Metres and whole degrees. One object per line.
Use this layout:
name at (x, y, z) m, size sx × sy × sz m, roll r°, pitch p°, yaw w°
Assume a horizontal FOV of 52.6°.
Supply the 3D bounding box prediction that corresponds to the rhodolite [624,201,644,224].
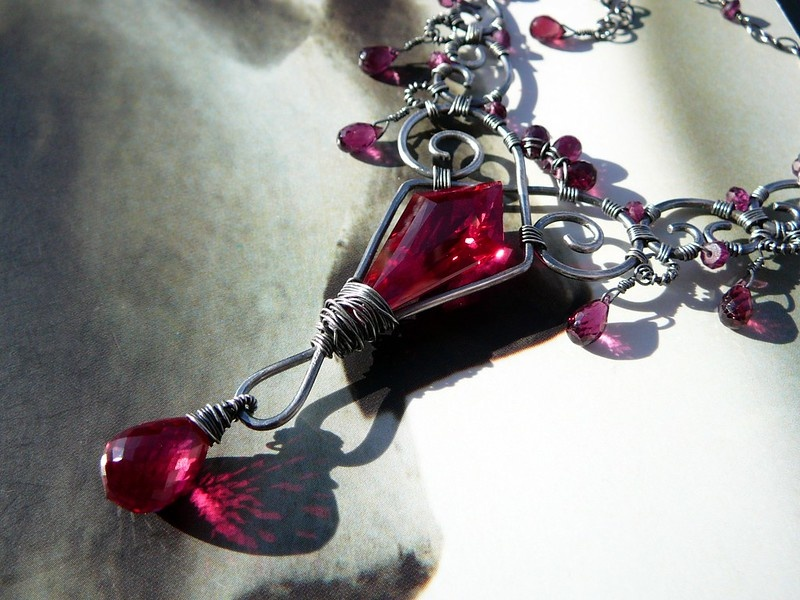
rhodolite at (0.525, -0.195, 1.795) m, size 0.045 × 0.018 × 0.049 m, roll 1°, pitch 77°, yaw 3°

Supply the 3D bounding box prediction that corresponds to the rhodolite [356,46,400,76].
rhodolite at (-0.057, -0.590, 1.999) m, size 0.084 × 0.045 × 0.070 m, roll -23°, pitch 91°, yaw 3°

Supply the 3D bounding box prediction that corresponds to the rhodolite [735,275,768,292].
rhodolite at (0.774, -0.035, 1.765) m, size 0.051 × 0.040 × 0.016 m, roll 0°, pitch 100°, yaw 7°

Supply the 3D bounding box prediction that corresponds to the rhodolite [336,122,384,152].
rhodolite at (-0.090, -0.373, 1.861) m, size 0.094 × 0.046 × 0.057 m, roll -19°, pitch 80°, yaw -12°

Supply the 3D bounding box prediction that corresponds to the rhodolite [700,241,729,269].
rhodolite at (0.674, -0.092, 1.753) m, size 0.053 × 0.032 × 0.060 m, roll 5°, pitch 83°, yaw 25°

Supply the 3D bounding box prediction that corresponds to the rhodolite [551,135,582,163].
rhodolite at (0.383, -0.346, 1.851) m, size 0.057 × 0.032 × 0.058 m, roll 30°, pitch 81°, yaw -6°
